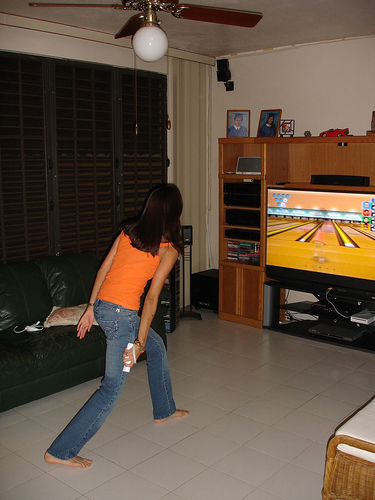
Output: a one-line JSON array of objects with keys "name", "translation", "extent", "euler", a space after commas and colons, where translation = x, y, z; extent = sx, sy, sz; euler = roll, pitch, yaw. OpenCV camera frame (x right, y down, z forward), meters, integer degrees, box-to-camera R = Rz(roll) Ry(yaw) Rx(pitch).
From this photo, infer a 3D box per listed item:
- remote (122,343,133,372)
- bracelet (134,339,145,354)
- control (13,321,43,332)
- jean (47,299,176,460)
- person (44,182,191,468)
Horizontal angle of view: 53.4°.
[{"name": "remote", "translation": [-0.246, 0.448, 1.540], "extent": [0.025, 0.096, 0.100], "euler": [5, -4, -18]}, {"name": "bracelet", "translation": [-0.194, 0.408, 1.572], "extent": [0.019, 0.047, 0.043], "euler": [-34, 4, 5]}, {"name": "control", "translation": [-1.061, 0.531, 2.545], "extent": [0.106, 0.027, 0.069], "euler": [-8, 22, -10]}, {"name": "jean", "translation": [-0.437, 0.724, 2.012], "extent": [0.902, 0.868, 0.293], "euler": [-12, 31, -22]}, {"name": "person", "translation": [-0.326, 0.344, 1.639], "extent": [0.561, 1.276, 0.291], "euler": [0, 0, 25]}]
